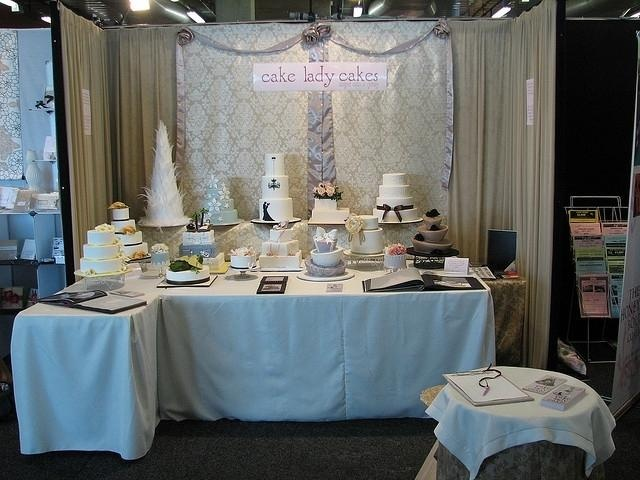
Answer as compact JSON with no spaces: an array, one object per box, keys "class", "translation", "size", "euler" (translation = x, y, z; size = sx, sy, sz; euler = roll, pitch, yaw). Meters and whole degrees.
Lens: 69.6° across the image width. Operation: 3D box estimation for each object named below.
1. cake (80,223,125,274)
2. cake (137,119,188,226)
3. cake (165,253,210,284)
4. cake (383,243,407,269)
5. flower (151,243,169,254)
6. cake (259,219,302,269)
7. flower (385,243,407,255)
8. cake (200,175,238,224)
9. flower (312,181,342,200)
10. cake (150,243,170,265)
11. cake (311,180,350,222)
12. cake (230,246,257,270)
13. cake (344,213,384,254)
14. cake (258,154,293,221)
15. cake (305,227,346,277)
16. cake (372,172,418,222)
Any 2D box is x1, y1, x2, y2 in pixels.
[{"class":"cake","translation":[-1.627,0.054,3.616],"size":[0.339,0.387,0.348],"euler":[-1,3,13]},{"class":"cake","translation":[-1.551,-0.638,4.459],"size":[0.440,1.033,0.256],"euler":[-7,9,-23]},{"class":"cake","translation":[-1.072,0.201,3.785],"size":[0.244,0.165,0.255],"euler":[2,7,14]},{"class":"cake","translation":[0.657,0.114,4.013],"size":[0.190,0.211,0.184],"euler":[3,10,16]},{"class":"flower","translation":[-1.424,0.069,4.084],"size":[0.098,0.047,0.103],"euler":[2,4,10]},{"class":"cake","translation":[-0.357,0.030,4.240],"size":[0.349,0.361,0.367],"euler":[0,8,3]},{"class":"flower","translation":[0.645,0.082,4.022],"size":[0.111,0.079,0.128],"euler":[2,2,-2]},{"class":"cake","translation":[-0.977,-0.417,4.683],"size":[0.426,0.501,0.431],"euler":[-3,1,-35]},{"class":"flower","translation":[0.058,-0.460,4.461],"size":[0.206,0.110,0.211],"euler":[5,6,28]},{"class":"cake","translation":[-1.405,0.113,4.107],"size":[0.155,0.186,0.163],"euler":[-1,-2,-8]},{"class":"cake","translation":[0.096,-0.350,4.557],"size":[0.413,0.440,0.348],"euler":[0,4,1]},{"class":"cake","translation":[-0.675,0.150,4.021],"size":[0.177,0.137,0.180],"euler":[0,3,-30]},{"class":"cake","translation":[0.390,-0.071,4.118],"size":[0.325,0.356,0.317],"euler":[-1,9,5]},{"class":"cake","translation":[-0.448,-0.506,4.457],"size":[0.315,0.649,0.262],"euler":[-5,8,-7]},{"class":"cake","translation":[0.071,0.086,4.041],"size":[0.354,0.423,0.379],"euler":[2,5,20]},{"class":"cake","translation":[0.718,-0.418,4.451],"size":[0.409,0.432,0.426],"euler":[3,8,32]}]
